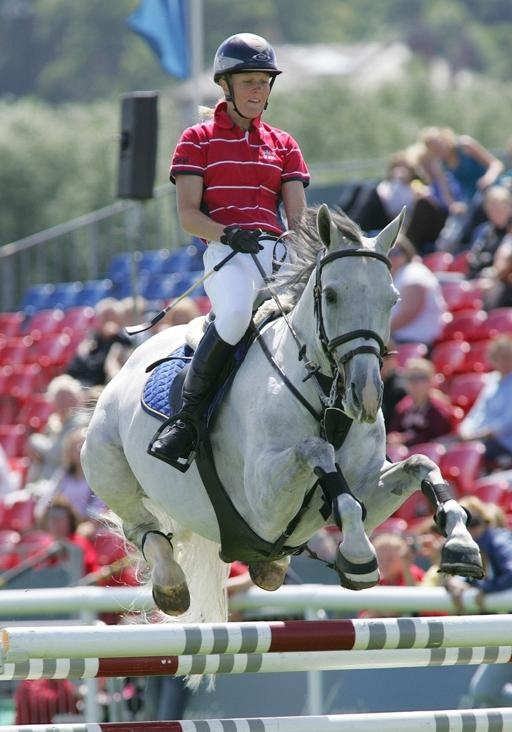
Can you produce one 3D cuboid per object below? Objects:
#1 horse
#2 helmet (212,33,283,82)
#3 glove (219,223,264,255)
[{"bbox_3d":[-0.027,0.314,5.509,1.115,1.489,2.736,-3,-7,-23],"label":"horse"},{"bbox_3d":[-0.059,-1.309,5.205,0.199,0.109,0.254,0,-5,-28],"label":"helmet"},{"bbox_3d":[-0.050,-0.541,5.084,0.168,0.107,0.057,10,39,26],"label":"glove"}]
